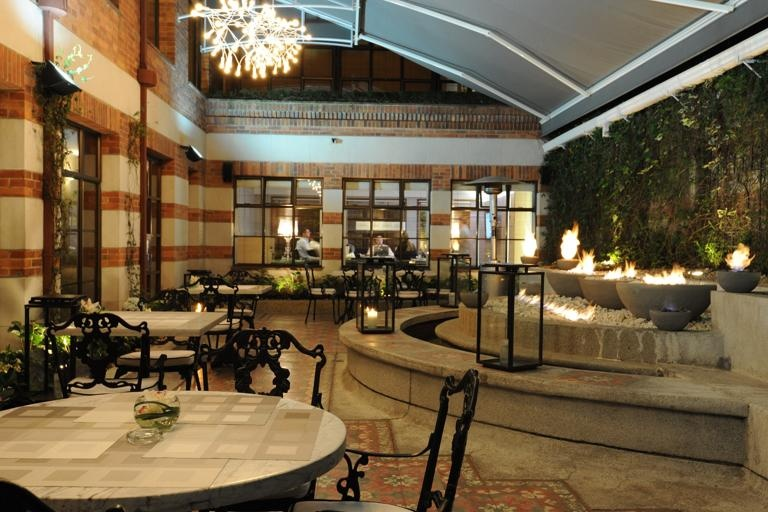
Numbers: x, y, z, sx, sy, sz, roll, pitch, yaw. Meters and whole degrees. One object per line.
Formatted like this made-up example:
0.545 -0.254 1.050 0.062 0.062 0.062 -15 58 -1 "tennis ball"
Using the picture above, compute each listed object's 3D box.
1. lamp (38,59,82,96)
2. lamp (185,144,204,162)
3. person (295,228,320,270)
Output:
-4.217 -2.280 7.887 0.308 0.381 0.426 -3 -3 10 "lamp"
-4.052 -2.180 12.763 0.329 0.363 0.438 -2 -4 -16 "lamp"
-1.832 -0.246 15.006 0.649 0.823 0.478 4 5 8 "person"
